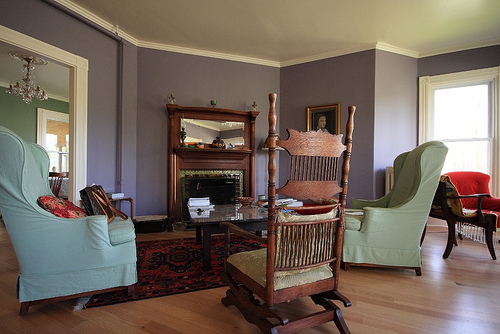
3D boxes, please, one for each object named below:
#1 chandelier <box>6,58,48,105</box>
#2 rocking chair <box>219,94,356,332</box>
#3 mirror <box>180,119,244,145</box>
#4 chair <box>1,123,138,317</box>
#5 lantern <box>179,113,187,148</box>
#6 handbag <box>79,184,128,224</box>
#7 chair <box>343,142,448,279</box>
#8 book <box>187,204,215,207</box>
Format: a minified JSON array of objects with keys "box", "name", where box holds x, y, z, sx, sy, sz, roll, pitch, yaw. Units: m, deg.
[{"box":[-4.711,-1.829,7.277,0.680,0.961,0.801,4,2,40],"name":"chandelier"},{"box":[0.456,0.501,3.660,1.363,2.461,0.522,-1,3,-8],"name":"rocking chair"},{"box":[-0.665,-0.680,6.772,1.591,0.645,0.035,-2,2,-38],"name":"mirror"},{"box":[-2.130,0.655,5.145,2.068,2.494,1.962,2,-3,-23],"name":"chair"},{"box":[-1.245,-0.673,6.375,0.129,0.647,0.240,-2,3,-10],"name":"lantern"},{"box":[-1.947,0.470,4.539,0.320,0.558,0.599,-16,10,5],"name":"handbag"},{"box":[2.008,0.654,5.555,1.711,2.200,1.761,-1,-6,19],"name":"chair"},{"box":[-0.745,0.577,5.213,0.382,0.030,0.113,-1,2,6],"name":"book"}]
